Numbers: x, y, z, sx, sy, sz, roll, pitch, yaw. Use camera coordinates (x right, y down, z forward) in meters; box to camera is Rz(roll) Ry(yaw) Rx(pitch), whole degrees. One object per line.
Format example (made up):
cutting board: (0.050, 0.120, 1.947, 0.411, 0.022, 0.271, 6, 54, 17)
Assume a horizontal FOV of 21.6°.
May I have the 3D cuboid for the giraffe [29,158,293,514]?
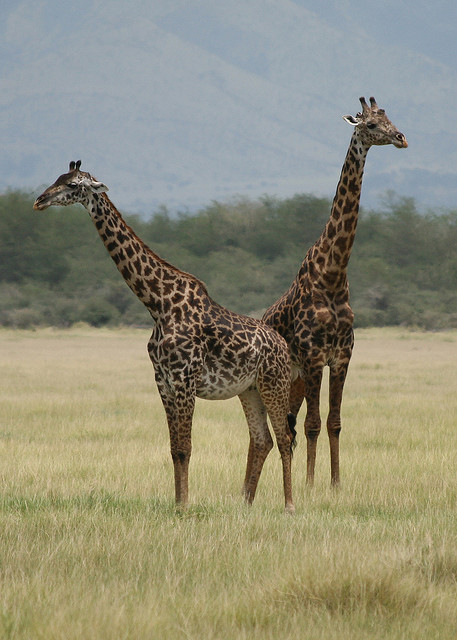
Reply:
giraffe: (-0.290, 0.195, 10.024, 1.882, 2.808, 1.785, 5, 5, 3)
